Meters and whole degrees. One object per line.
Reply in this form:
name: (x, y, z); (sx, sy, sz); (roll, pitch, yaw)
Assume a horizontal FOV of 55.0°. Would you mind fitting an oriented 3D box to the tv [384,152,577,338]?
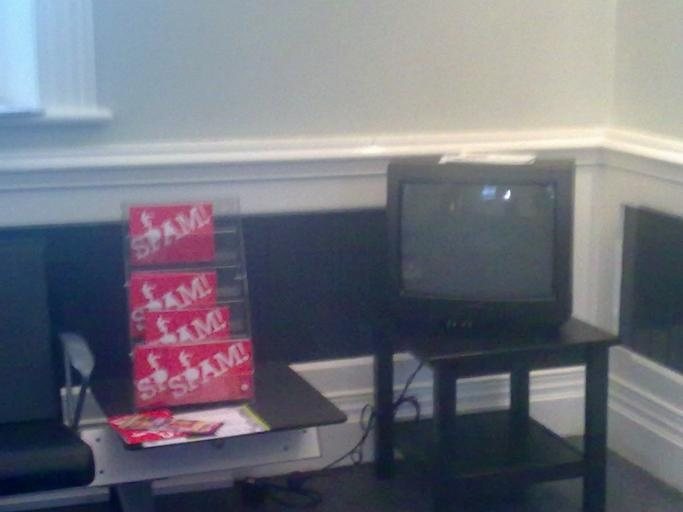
tv: (0.446, -0.082, 2.166); (0.576, 0.539, 0.346); (2, 21, 12)
